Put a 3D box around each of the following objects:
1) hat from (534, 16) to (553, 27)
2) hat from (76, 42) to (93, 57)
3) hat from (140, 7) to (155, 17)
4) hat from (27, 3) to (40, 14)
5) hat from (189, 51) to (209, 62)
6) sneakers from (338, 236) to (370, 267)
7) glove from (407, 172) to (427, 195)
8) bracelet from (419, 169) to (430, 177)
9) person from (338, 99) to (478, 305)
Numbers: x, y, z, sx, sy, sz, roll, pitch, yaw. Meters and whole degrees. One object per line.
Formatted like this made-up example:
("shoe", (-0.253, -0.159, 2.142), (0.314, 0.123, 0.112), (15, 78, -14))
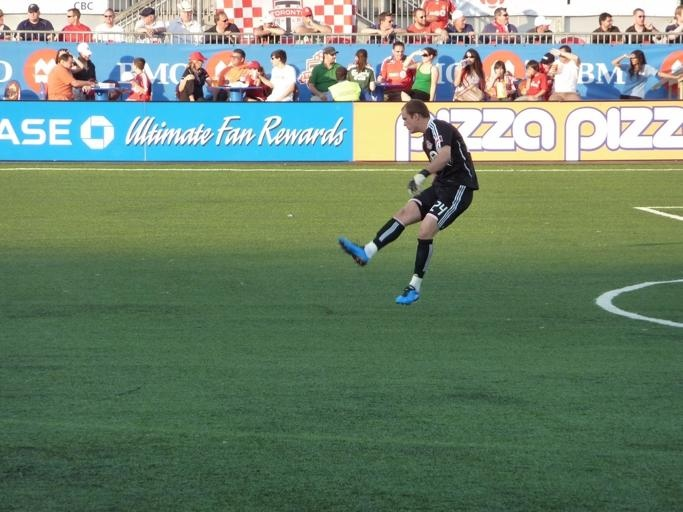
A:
("hat", (4.619, -5.280, 35.720), (0.400, 0.187, 0.573), (9, 17, 41))
("hat", (-5.423, -4.332, 33.496), (0.255, 0.389, 0.949), (-4, 18, -10))
("hat", (-4.244, -5.307, 34.668), (0.309, 0.147, 0.200), (1, 33, 4))
("hat", (-6.814, -5.454, 35.000), (0.286, 0.208, 0.401), (0, 13, 0))
("hat", (-3.030, -4.211, 33.662), (0.441, 0.197, 0.302), (-3, 5, -9))
("sneakers", (0.164, -0.067, 18.607), (0.408, 0.161, 0.252), (32, 9, -4))
("glove", (0.890, -0.850, 18.654), (0.206, 0.267, 0.135), (43, -2, 12))
("bracelet", (1.003, -0.971, 18.721), (0.102, 0.073, 0.094), (19, 20, -8))
("person", (0.917, -0.655, 18.763), (0.808, 2.255, 1.448), (15, 24, 36))
